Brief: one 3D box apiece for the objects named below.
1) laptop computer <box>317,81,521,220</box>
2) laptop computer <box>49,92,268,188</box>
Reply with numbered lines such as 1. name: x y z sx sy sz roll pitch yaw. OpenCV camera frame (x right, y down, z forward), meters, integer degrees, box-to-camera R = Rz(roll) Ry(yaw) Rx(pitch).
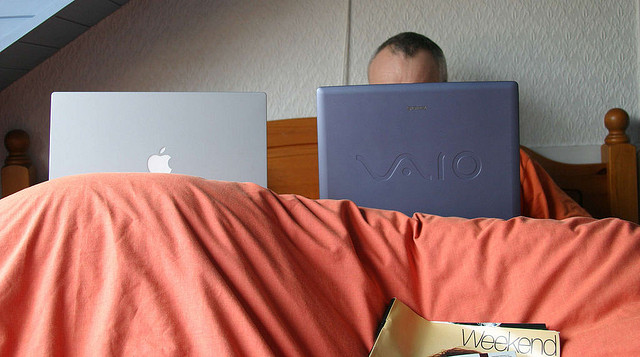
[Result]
1. laptop computer: 0.300 -0.038 1.631 0.671 0.517 0.497 -2 2 5
2. laptop computer: -0.502 -0.145 1.476 0.540 0.341 0.363 1 -5 -2
